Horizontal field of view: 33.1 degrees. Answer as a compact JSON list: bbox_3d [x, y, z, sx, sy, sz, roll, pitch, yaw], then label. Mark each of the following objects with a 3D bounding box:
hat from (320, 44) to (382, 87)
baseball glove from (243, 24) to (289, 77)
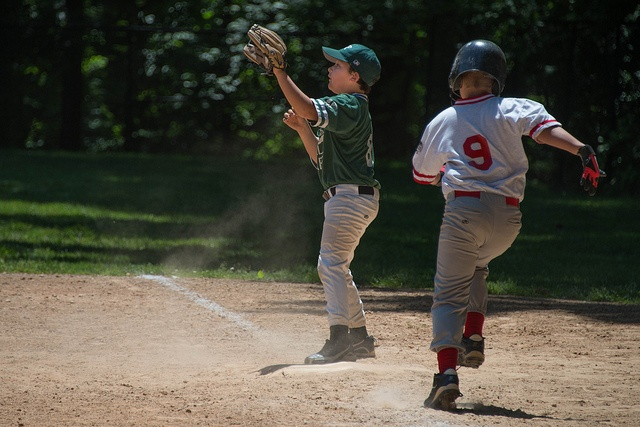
[{"bbox_3d":[0.438,-1.979,13.870,0.707,0.379,0.456,38,12,-5],"label":"hat"},{"bbox_3d":[-0.672,-2.049,13.487,0.543,0.603,0.248,3,5,-6],"label":"baseball glove"}]
